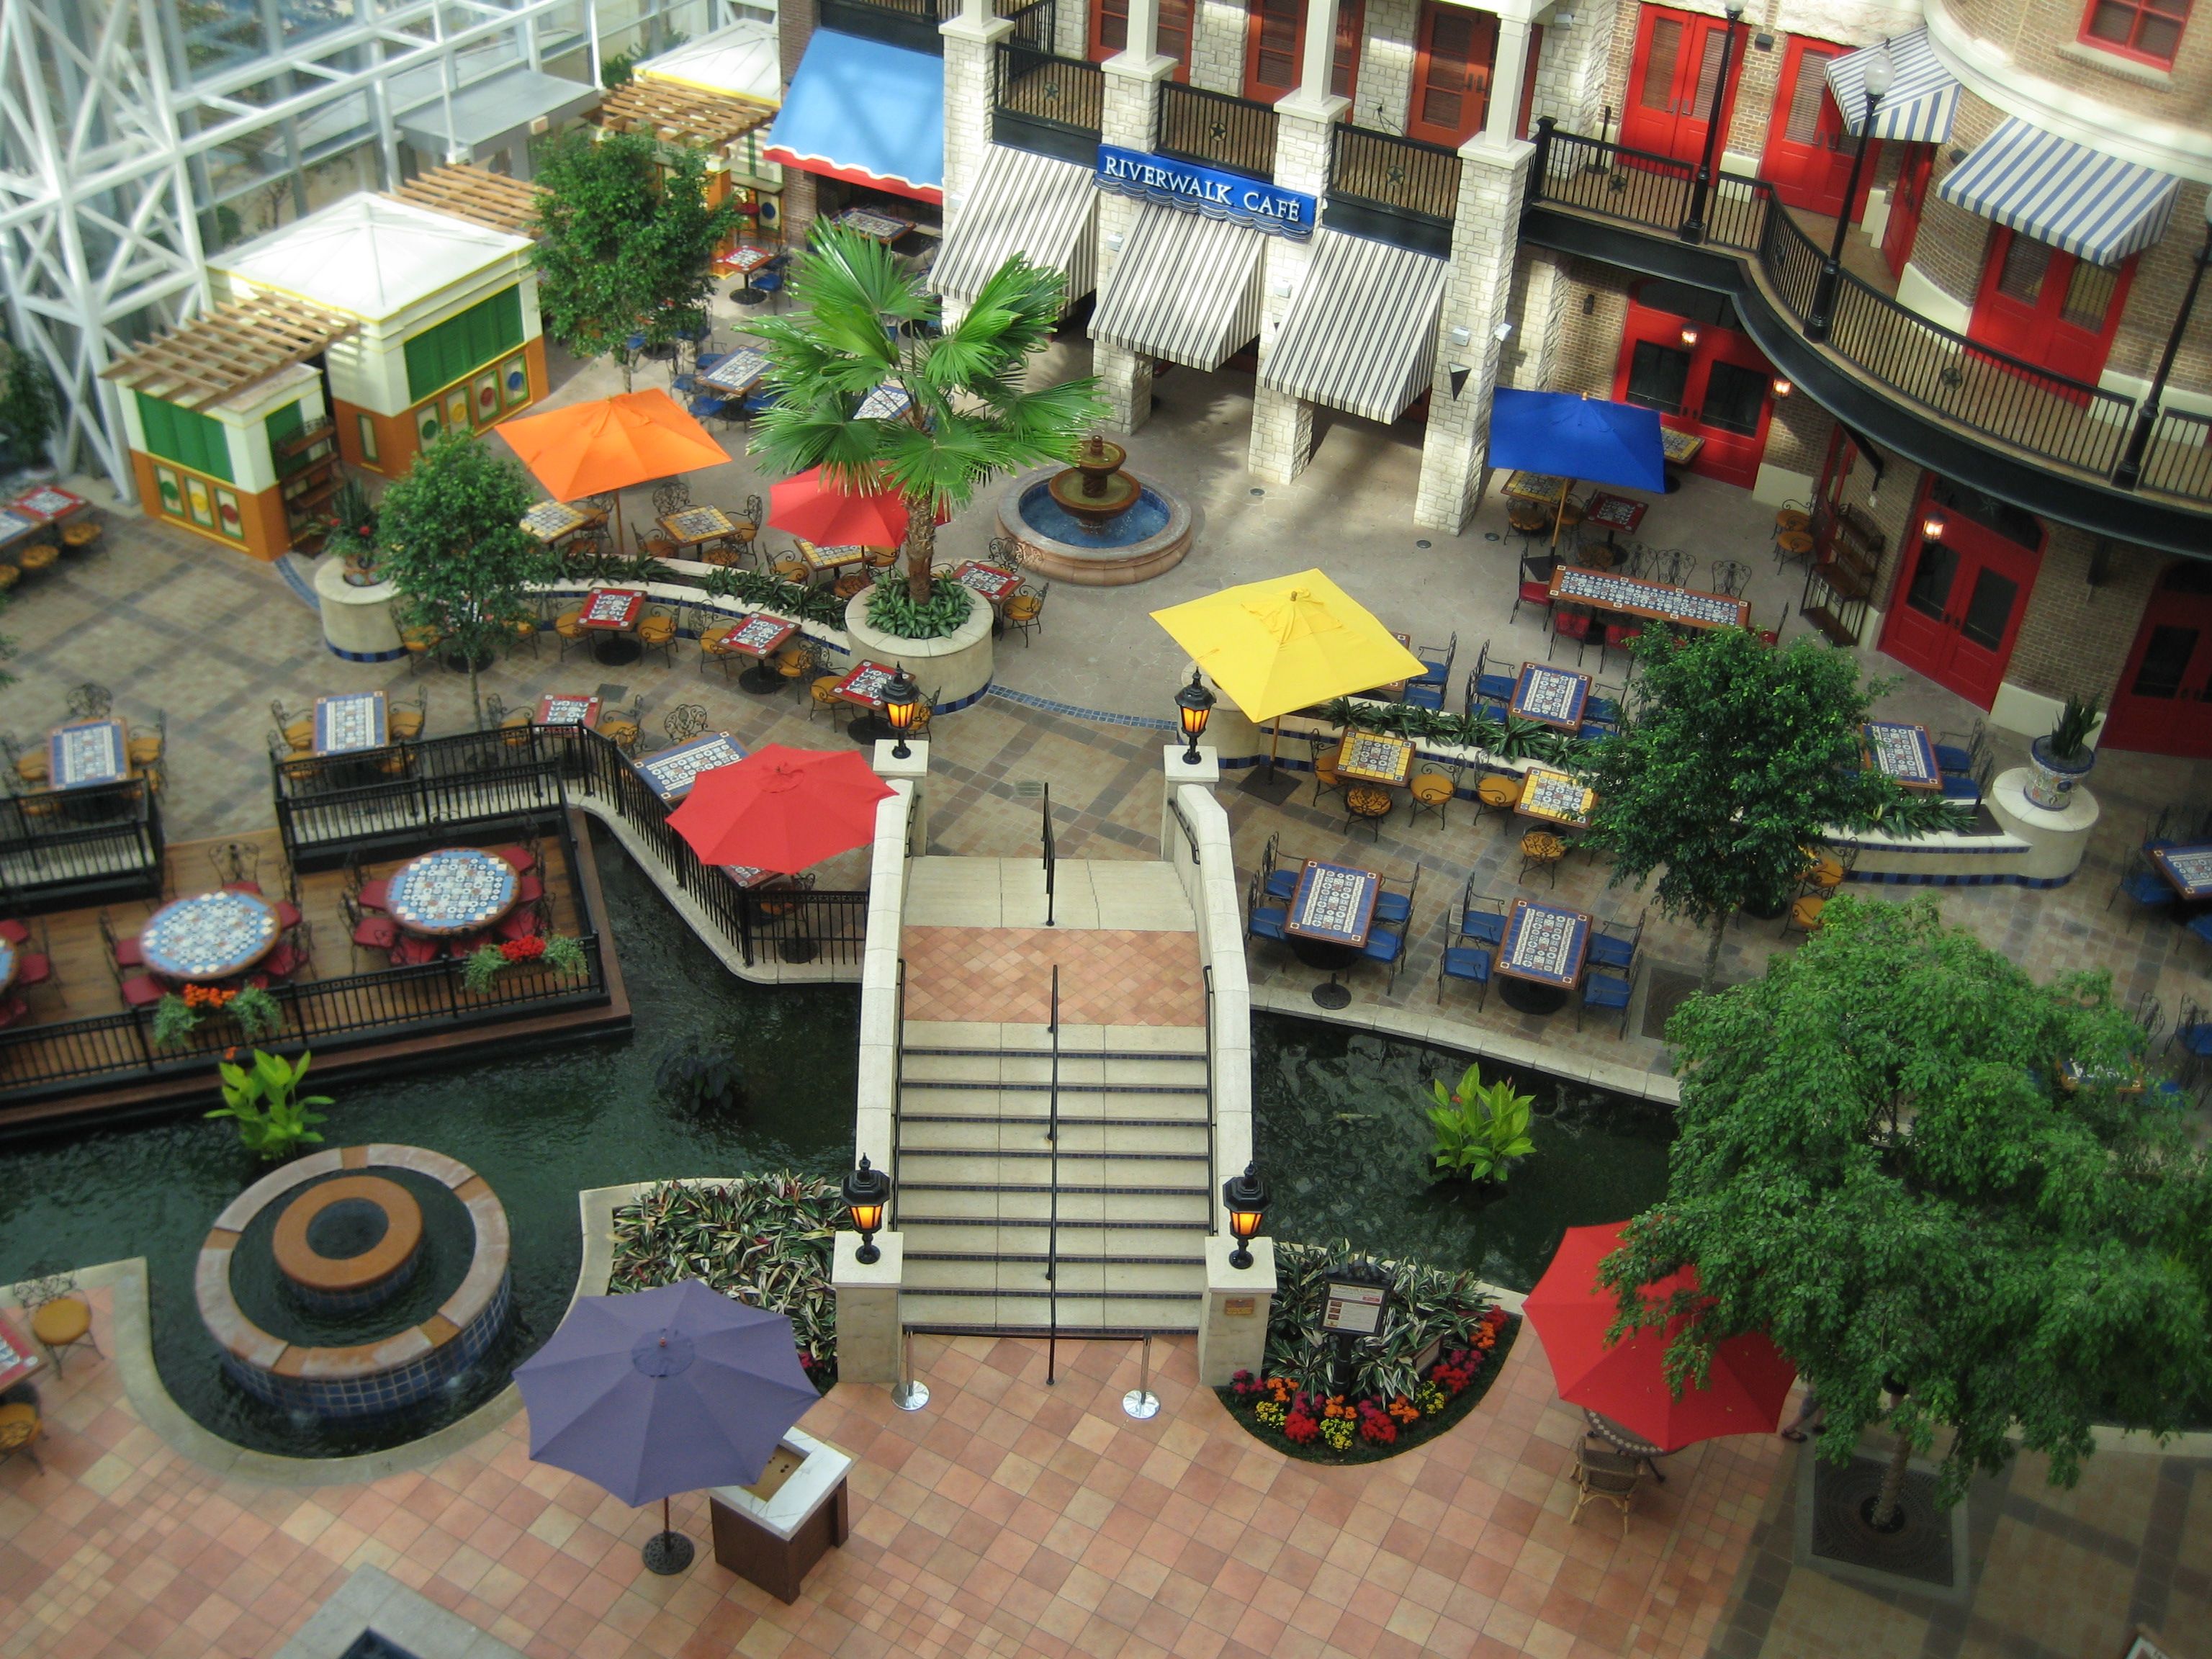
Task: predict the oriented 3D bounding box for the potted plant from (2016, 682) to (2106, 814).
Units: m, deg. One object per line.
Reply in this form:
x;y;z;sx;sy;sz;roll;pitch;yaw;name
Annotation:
17.726;-1.394;30.332;1.050;1.837;1.361;28;47;24;potted plant

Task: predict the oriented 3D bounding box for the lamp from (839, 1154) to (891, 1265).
-3.170;5.073;21.820;0.497;1.849;0.932;-2;42;-7;lamp

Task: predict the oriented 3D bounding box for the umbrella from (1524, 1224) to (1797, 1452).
6.849;6.126;20.852;3.499;2.043;3.091;3;62;3;umbrella

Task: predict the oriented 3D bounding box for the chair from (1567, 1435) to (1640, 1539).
6.551;8.599;21.576;0.973;1.390;0.985;3;56;9;chair

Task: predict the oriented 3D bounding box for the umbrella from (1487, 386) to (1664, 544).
10.399;-8.739;36.217;3.382;1.536;2.830;8;57;5;umbrella

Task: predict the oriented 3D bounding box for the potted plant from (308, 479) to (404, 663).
-15.474;-5.173;33.430;1.639;2.935;2.554;-15;45;-21;potted plant

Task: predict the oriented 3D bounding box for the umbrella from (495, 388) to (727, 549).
-10.116;-7.838;33.630;3.673;1.204;2.764;-10;42;-17;umbrella

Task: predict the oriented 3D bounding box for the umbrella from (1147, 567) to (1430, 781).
3.346;-2.615;30.756;3.536;1.546;3.387;19;51;13;umbrella

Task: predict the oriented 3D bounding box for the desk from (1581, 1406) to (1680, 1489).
6.715;7.896;21.028;1.276;1.744;1.240;4;62;13;desk
